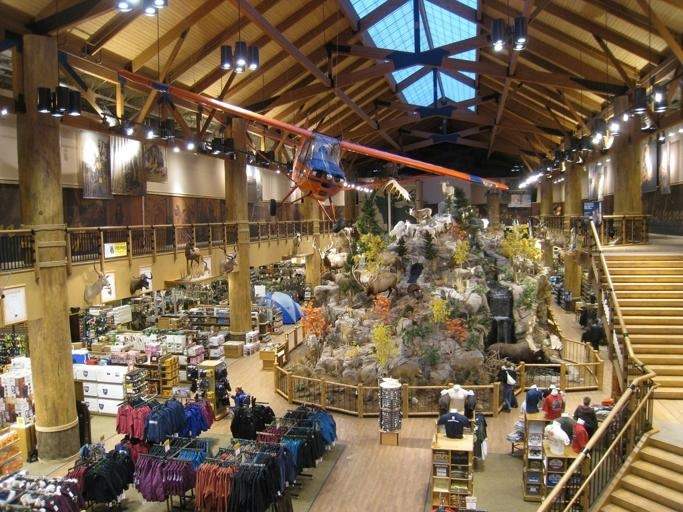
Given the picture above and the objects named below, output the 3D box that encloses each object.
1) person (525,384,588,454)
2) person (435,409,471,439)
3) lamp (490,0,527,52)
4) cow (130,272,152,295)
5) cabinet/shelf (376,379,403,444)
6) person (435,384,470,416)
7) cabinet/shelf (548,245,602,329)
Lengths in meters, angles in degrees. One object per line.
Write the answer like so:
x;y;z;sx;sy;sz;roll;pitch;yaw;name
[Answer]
5.148;3.899;11.782;0.778;0.661;1.278;-1;4;9;person
2.757;4.123;12.377;0.753;0.670;0.303;0;4;14;person
4.279;-5.583;12.633;0.882;0.631;0.866;-13;16;-33;lamp
-6.709;0.916;16.952;0.335;0.709;0.850;0;-2;10;cow
1.474;4.444;14.577;0.736;2.024;0.800;3;14;13;cabinet/shelf
2.983;3.746;13.369;0.741;0.974;0.806;9;33;20;person
10.893;1.630;23.624;3.268;3.462;2.338;3;16;14;cabinet/shelf
